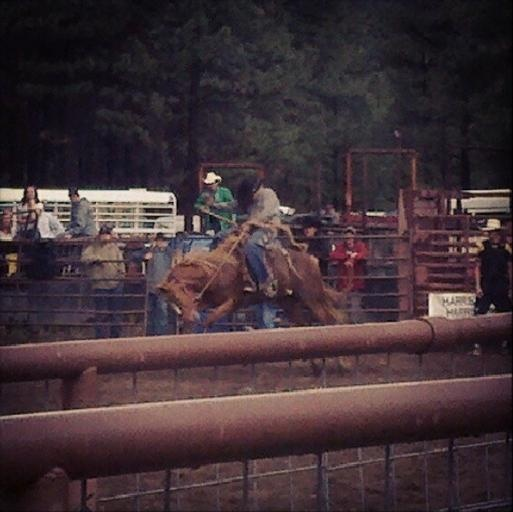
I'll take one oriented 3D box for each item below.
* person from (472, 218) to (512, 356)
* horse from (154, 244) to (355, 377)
[{"bbox_3d":[3.024,0.180,13.125,0.428,1.061,0.449,1,2,13],"label":"person"},{"bbox_3d":[0.060,0.462,13.152,2.702,1.535,0.664,-1,24,-25],"label":"horse"}]
